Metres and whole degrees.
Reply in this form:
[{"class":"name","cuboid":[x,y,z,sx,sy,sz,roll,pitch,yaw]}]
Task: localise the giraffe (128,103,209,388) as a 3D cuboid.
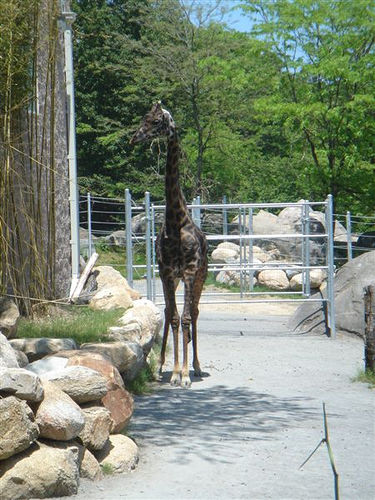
[{"class":"giraffe","cuboid":[-0.187,-0.078,12.606,0.678,3.033,1.054,-1,1,11]}]
